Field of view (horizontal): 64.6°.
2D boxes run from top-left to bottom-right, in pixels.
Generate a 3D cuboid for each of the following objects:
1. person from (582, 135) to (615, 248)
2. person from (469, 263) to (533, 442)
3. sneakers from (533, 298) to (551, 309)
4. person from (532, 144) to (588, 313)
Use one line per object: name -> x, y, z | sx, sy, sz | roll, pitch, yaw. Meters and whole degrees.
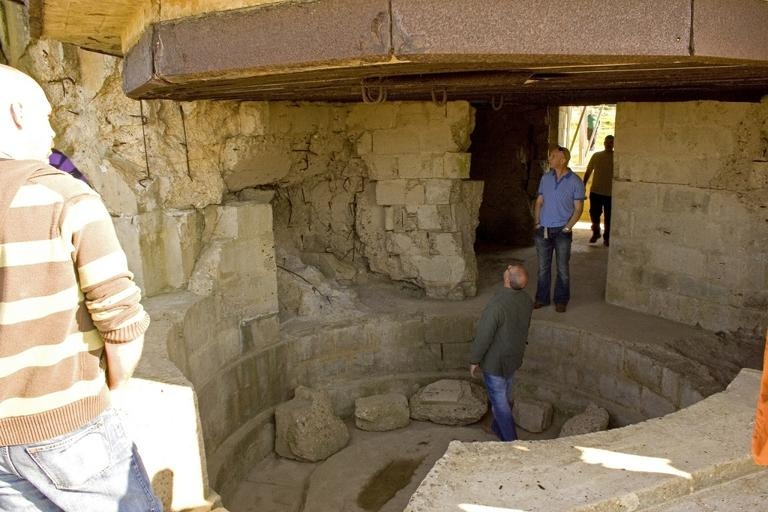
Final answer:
person -> 2.881, -0.880, 8.195 | 0.336, 1.473, 1.368 | -2, 10, 18
person -> 0.937, 0.821, 4.817 | 0.497, 1.556, 0.694 | -4, 11, 8
sneakers -> 1.534, 0.476, 5.944 | 0.197, 0.072, 0.064 | 0, 3, -29
person -> 1.641, -0.236, 5.662 | 0.385, 1.551, 0.623 | -11, 12, -24
